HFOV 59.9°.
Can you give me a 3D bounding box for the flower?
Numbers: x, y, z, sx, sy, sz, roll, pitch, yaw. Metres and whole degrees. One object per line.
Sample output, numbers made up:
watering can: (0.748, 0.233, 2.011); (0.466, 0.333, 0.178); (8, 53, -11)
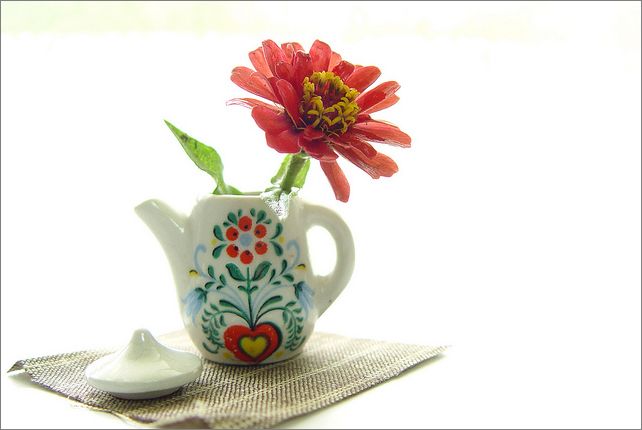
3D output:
flower: (-0.031, -0.143, 0.957); (0.256, 0.270, 0.312); (-6, 32, -29)
